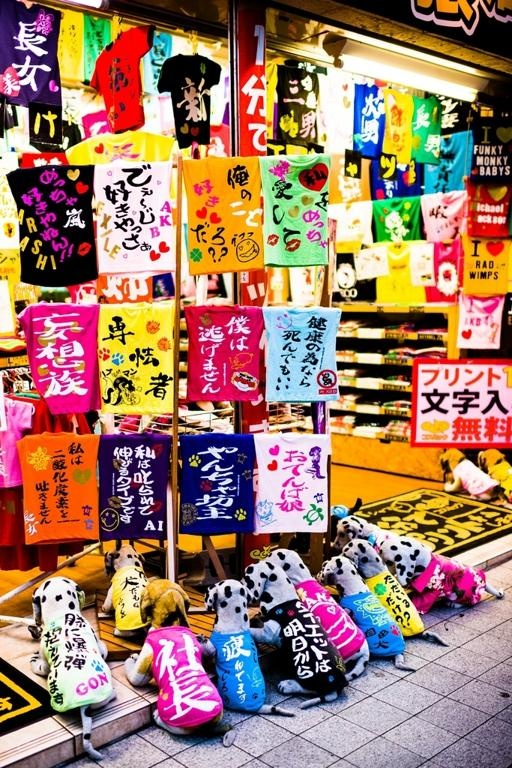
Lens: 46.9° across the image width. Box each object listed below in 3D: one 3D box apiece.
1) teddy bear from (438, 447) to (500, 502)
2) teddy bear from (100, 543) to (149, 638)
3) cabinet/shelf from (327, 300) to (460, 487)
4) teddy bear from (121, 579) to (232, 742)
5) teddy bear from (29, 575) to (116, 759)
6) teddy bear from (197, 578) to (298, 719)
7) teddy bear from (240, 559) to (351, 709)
[{"bbox_3d":[2.102,0.928,5.866,0.325,0.418,0.877,-10,16,-15],"label":"teddy bear"},{"bbox_3d":[-0.665,1.060,3.004,0.180,0.269,0.546,2,22,-13],"label":"teddy bear"},{"bbox_3d":[1.399,0.127,5.922,0.638,1.789,1.874,-4,6,-34],"label":"cabinet/shelf"},{"bbox_3d":[-0.318,1.135,2.421,0.356,0.573,0.663,3,0,-24],"label":"teddy bear"},{"bbox_3d":[-0.760,1.104,2.351,0.252,0.271,0.671,-2,30,-24],"label":"teddy bear"},{"bbox_3d":[-0.064,1.131,2.526,0.257,0.527,0.533,4,-17,-29],"label":"teddy bear"},{"bbox_3d":[0.156,1.114,2.711,0.307,0.340,0.709,-3,16,-32],"label":"teddy bear"}]
